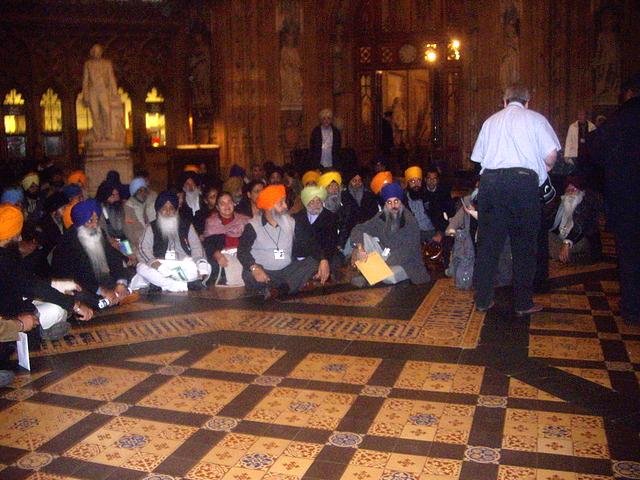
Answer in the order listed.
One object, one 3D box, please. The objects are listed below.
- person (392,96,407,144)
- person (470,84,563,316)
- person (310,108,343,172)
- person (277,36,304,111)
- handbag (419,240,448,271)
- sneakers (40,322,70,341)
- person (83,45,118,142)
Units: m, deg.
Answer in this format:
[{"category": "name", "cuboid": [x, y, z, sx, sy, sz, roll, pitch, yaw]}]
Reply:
[{"category": "person", "cuboid": [2.453, -3.650, 17.042, 0.456, 1.406, 0.993, 0, 13, 7]}, {"category": "person", "cuboid": [1.669, -0.321, 4.862, 0.714, 2.000, 0.405, 4, 14, 23]}, {"category": "person", "cuboid": [0.071, -1.670, 9.238, 0.508, 0.963, 0.407, -1, 13, -1]}, {"category": "person", "cuboid": [-0.681, -3.764, 12.838, 0.522, 1.420, 0.235, -1, 13, 1]}, {"category": "handbag", "cuboid": [1.365, 0.191, 6.727, 0.290, 0.409, 0.212, 4, 21, 17]}, {"category": "sneakers", "cuboid": [-2.196, 0.752, 4.652, 0.253, 0.118, 0.087, -18, 30, -22]}, {"category": "person", "cuboid": [-4.120, -2.764, 10.451, 0.661, 1.796, 0.511, -6, 13, -21]}]
